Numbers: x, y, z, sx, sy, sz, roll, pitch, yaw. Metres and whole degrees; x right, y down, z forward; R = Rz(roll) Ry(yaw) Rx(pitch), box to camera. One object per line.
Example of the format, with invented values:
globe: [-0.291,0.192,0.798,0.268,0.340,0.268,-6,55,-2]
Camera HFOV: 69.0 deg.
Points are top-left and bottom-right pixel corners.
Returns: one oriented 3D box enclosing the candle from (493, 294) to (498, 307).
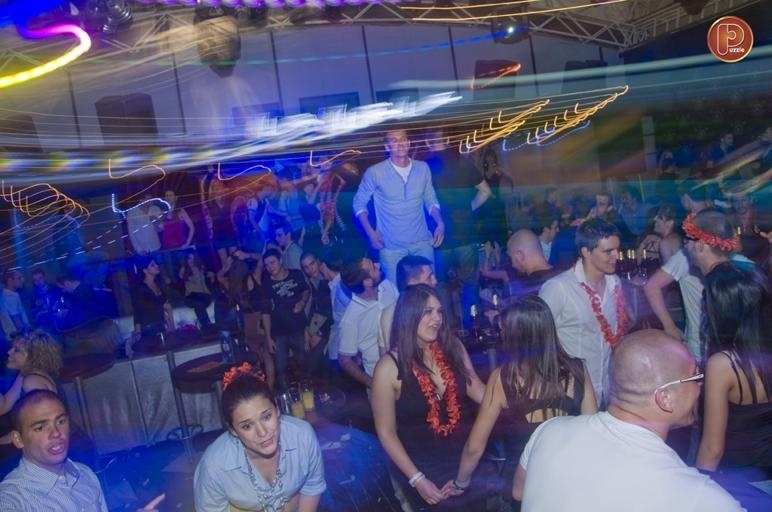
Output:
candle: [1.215,0.480,6.219,0.030,0.096,0.072,-8,-12,29]

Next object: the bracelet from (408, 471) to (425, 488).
bracelet: [0.281,1.956,4.917,0.150,0.158,0.092,-9,5,-7]

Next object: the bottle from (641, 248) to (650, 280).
bottle: [3.506,0.090,7.600,0.102,0.301,0.758,-6,4,26]

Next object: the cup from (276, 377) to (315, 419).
cup: [-0.968,1.537,6.070,0.305,0.319,0.439,-3,-3,-23]

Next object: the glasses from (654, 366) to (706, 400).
glasses: [2.092,0.902,4.017,0.216,0.062,0.207,-24,-7,-6]
